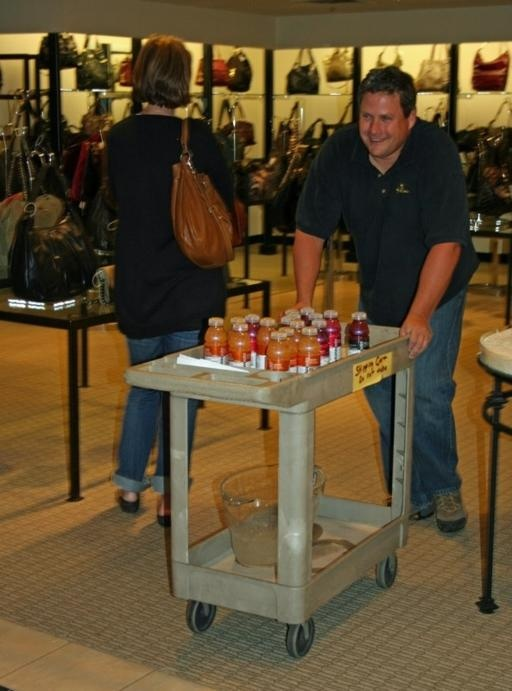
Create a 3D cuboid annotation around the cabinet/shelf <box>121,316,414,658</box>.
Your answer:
[{"bbox_3d":[0.019,0.405,1.786,0.412,0.636,0.800,5,13,30],"label":"cabinet/shelf"}]

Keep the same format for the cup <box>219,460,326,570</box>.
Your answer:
[{"bbox_3d":[0.023,0.451,1.770,0.322,0.195,0.248,1,3,8],"label":"cup"}]

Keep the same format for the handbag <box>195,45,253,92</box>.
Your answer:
[{"bbox_3d":[-0.335,-2.625,6.051,0.546,0.476,0.250,-12,40,-30],"label":"handbag"}]

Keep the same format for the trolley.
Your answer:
[{"bbox_3d":[0.112,0.336,1.714,0.436,0.639,0.837,1,6,38],"label":"trolley"}]

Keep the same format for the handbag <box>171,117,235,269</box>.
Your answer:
[{"bbox_3d":[-0.181,-0.498,2.129,0.166,0.479,0.273,2,7,28],"label":"handbag"}]

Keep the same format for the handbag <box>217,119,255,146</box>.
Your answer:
[{"bbox_3d":[-0.187,-2.099,6.362,0.345,0.110,0.244,-4,24,-28],"label":"handbag"}]

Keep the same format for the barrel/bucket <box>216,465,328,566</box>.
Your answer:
[{"bbox_3d":[0.007,0.457,1.784,0.316,0.195,0.251,2,4,24],"label":"barrel/bucket"}]

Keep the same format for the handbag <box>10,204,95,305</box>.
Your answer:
[{"bbox_3d":[-0.886,-0.404,2.970,0.452,0.449,0.453,1,7,-17],"label":"handbag"}]

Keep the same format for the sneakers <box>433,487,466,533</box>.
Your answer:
[{"bbox_3d":[0.685,0.597,2.303,0.071,0.082,0.202,-5,0,9],"label":"sneakers"}]
